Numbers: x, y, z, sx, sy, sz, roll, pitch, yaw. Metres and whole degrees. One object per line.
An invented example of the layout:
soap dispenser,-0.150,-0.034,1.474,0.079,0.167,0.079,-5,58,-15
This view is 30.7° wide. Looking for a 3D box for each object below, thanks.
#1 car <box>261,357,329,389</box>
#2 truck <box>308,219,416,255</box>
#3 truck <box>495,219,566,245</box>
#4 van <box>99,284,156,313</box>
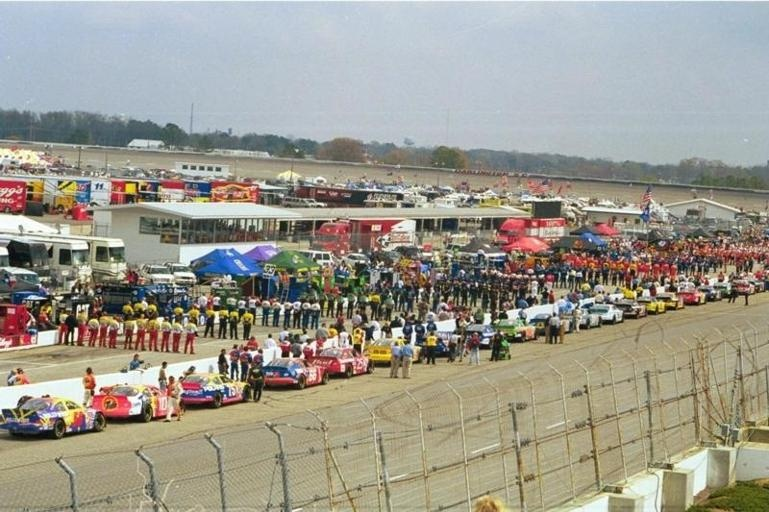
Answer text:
car,-3.977,5.130,61.512,2.714,1.296,1.372,-2,5,-13
truck,-1.110,-1.350,97.305,9.098,3.177,2.524,-2,6,-38
truck,12.203,-1.994,113.006,9.298,2.254,2.027,-2,4,-45
van,-13.070,2.167,71.129,2.316,1.194,1.439,0,4,14
